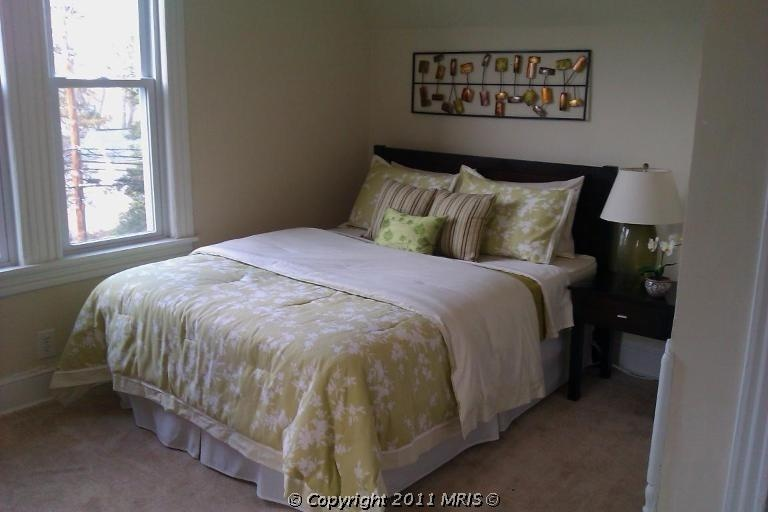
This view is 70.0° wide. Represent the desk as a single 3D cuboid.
[{"bbox_3d":[1.295,0.417,3.035,0.634,0.656,0.472,10,13,41],"label":"desk"}]

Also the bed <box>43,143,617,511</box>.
[{"bbox_3d":[-0.070,0.166,3.285,2.110,1.518,2.799,15,19,43],"label":"bed"}]

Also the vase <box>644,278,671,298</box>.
[{"bbox_3d":[1.550,0.172,3.121,0.129,0.102,0.122,9,16,26],"label":"vase"}]

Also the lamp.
[{"bbox_3d":[1.584,-0.142,3.379,0.486,0.820,0.486,8,6,8],"label":"lamp"}]

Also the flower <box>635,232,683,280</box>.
[{"bbox_3d":[1.587,-0.005,3.200,0.190,0.247,0.223,-6,11,-11],"label":"flower"}]
